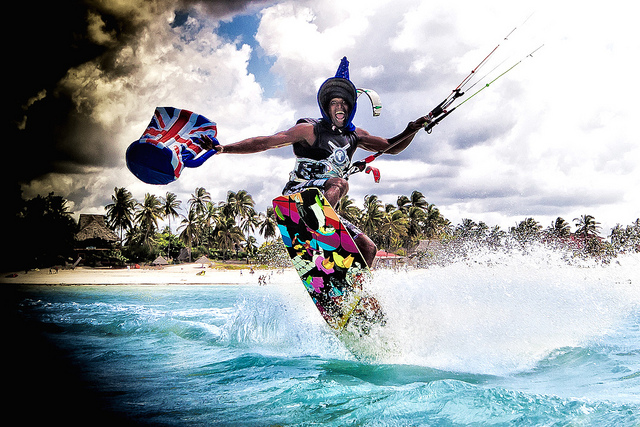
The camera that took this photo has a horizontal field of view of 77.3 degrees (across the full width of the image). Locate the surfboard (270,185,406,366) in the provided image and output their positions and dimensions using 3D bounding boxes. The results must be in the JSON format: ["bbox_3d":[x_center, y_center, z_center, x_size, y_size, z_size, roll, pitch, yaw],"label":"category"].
[{"bbox_3d":[0.654,1.508,10.268,1.735,6.177,0.926,-26,0,15],"label":"surfboard"}]
